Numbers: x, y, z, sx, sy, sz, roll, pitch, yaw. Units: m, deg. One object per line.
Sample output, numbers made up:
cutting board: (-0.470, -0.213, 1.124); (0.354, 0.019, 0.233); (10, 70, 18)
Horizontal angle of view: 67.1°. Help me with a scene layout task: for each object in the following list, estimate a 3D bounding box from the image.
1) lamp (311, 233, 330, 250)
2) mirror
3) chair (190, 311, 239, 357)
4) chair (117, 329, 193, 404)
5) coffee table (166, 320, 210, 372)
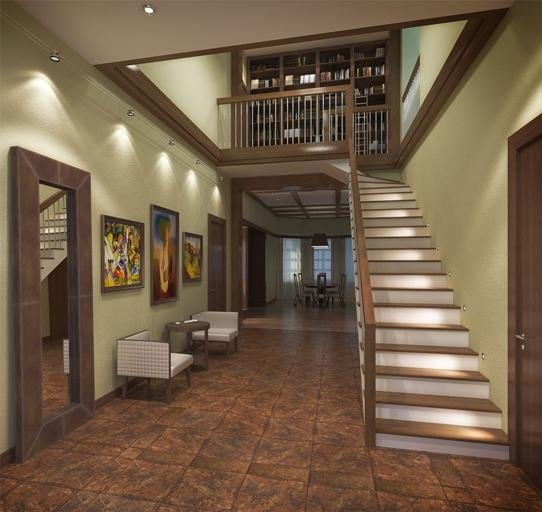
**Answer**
lamp: (1.476, -0.461, 12.497); (0.540, 0.459, 0.592); (0, -3, -3)
mirror: (-1.909, 0.358, 3.614); (0.239, 2.470, 0.933); (1, 2, 7)
chair: (-0.862, 1.213, 6.406); (0.593, 0.752, 0.602); (0, 1, 13)
chair: (-1.311, 1.179, 4.661); (0.583, 0.701, 0.666); (0, -1, 19)
coffee table: (-1.109, 1.093, 5.566); (0.580, 0.731, 0.606); (0, 3, 37)
